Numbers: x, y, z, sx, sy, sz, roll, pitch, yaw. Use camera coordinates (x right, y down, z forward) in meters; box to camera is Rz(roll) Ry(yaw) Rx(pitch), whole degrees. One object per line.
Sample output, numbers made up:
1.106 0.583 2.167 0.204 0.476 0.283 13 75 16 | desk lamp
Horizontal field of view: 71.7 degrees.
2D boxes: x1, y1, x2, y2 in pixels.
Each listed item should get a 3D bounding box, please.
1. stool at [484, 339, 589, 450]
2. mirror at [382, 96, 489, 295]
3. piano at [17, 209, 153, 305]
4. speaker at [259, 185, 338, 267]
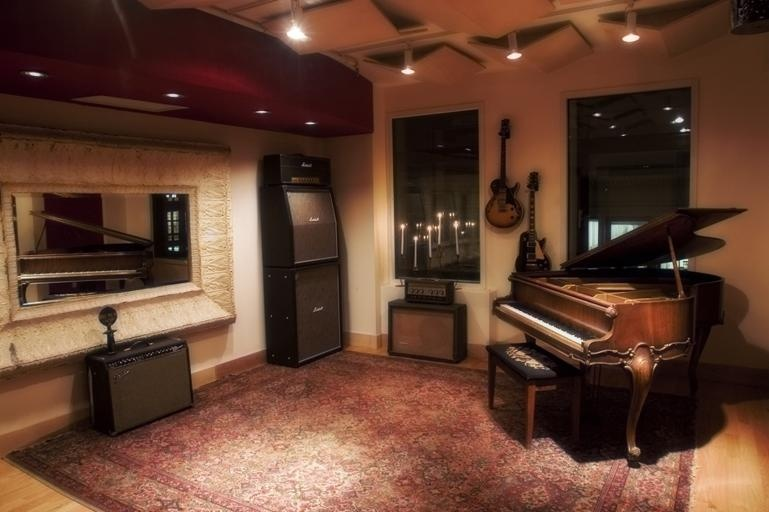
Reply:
1.355 1.039 4.960 0.748 0.766 1.271 0 2 -8 | stool
0.663 -0.749 6.862 1.220 2.180 0.172 0 7 25 | mirror
-2.874 0.038 5.114 0.945 0.740 0.698 -4 8 -38 | piano
-1.007 -0.378 6.552 0.900 0.958 0.407 -7 8 -36 | speaker
